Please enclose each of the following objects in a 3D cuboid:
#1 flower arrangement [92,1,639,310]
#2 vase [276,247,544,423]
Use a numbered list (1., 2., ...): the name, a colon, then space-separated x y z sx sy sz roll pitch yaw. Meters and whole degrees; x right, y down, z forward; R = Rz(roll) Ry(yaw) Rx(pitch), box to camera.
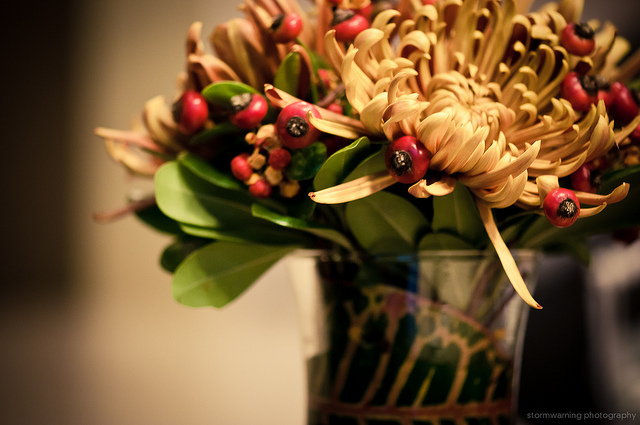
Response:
1. flower arrangement: 0.070 -0.095 0.924 0.821 0.420 0.292 1 21 7
2. vase: 0.124 0.176 0.921 0.294 0.253 0.287 -4 -7 27
